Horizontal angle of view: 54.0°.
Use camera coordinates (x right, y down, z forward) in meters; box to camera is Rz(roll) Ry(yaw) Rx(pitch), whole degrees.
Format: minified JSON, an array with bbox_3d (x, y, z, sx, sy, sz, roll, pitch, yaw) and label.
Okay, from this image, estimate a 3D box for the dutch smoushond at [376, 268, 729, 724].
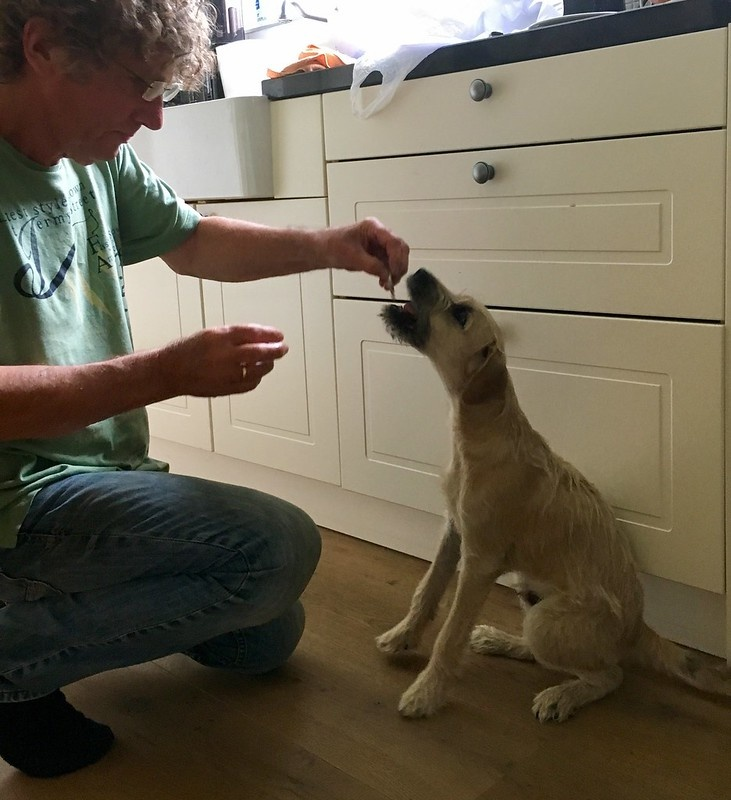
[{"bbox_3d":[0.312,0.138,1.194,0.601,0.706,0.245,-3,14,-2],"label":"dutch smoushond"}]
